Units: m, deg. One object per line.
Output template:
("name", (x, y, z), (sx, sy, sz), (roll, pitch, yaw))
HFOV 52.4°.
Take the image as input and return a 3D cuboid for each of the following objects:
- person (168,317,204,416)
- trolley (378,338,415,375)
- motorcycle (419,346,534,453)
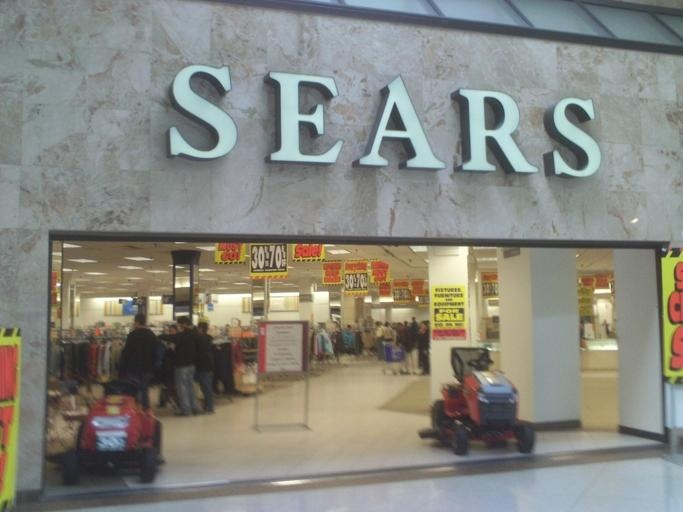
("person", (-2.871, 2.033, 12.870), (0.517, 1.829, 0.642), (0, -1, -11))
("trolley", (1.671, 3.069, 20.754), (0.858, 0.864, 1.445), (0, -1, -18))
("motorcycle", (1.969, 2.102, 10.200), (1.151, 1.221, 1.751), (1, -14, -3))
